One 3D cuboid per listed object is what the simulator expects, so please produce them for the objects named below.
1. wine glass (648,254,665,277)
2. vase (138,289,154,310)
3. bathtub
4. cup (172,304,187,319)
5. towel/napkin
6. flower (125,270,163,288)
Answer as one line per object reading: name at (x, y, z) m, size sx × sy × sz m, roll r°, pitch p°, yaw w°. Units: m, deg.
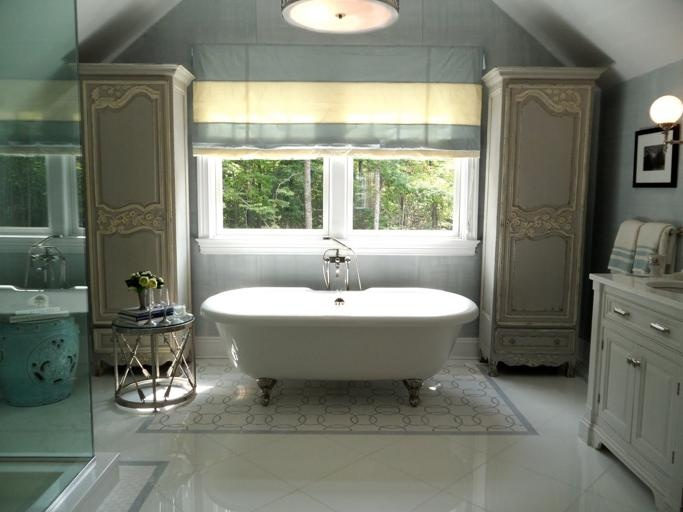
wine glass at (1.953, 0.061, 3.579) m, size 0.127 × 0.126 × 0.120 m, roll 0°, pitch -1°, yaw 11°
vase at (-1.445, 0.325, 4.216) m, size 0.142 × 0.176 × 0.143 m, roll 2°, pitch 3°, yaw -2°
bathtub at (-0.018, 0.618, 4.395) m, size 1.996 × 0.641 × 0.920 m, roll 1°, pitch 14°, yaw 0°
cup at (-1.184, 0.421, 4.207) m, size 0.092 × 0.099 × 0.097 m, roll 2°, pitch -6°, yaw 0°
towel/napkin at (2.136, -0.051, 3.985) m, size 0.151 × 0.297 × 0.398 m, roll 9°, pitch 2°, yaw 0°
flower at (-1.423, 0.182, 4.154) m, size 0.188 × 0.092 × 0.190 m, roll 1°, pitch 0°, yaw 40°
